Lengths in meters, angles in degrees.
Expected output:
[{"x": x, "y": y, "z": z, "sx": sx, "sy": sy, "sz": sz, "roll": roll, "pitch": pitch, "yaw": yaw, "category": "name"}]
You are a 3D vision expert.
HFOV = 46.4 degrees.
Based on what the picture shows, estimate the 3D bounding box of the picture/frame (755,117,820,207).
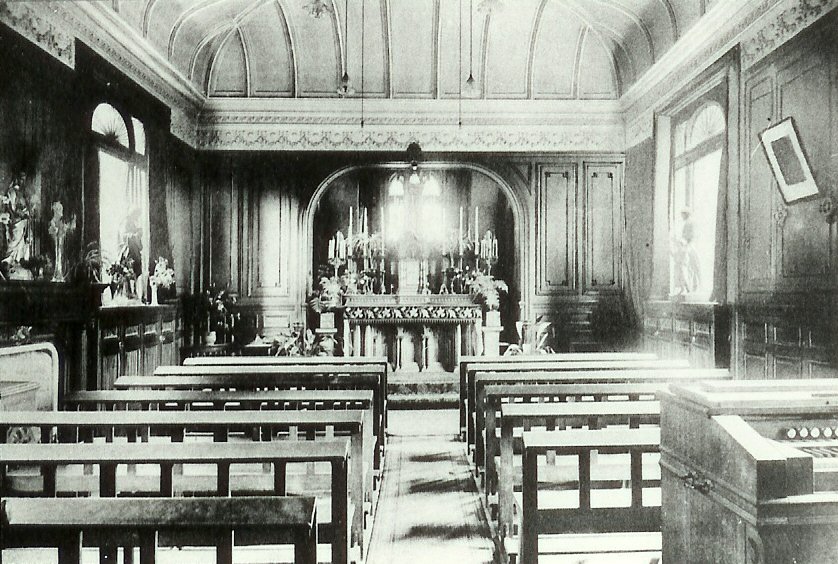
[{"x": 4.940, "y": -1.592, "z": 12.965, "sx": 0.087, "sy": 1.270, "sz": 0.861, "roll": -9, "pitch": -15, "yaw": -22, "category": "picture/frame"}]

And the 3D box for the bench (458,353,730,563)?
[{"x": 1.766, "y": 2.079, "z": 11.755, "sx": 2.706, "sy": 2.207, "sz": 2.001, "roll": 0, "pitch": 1, "yaw": -1, "category": "bench"}]
